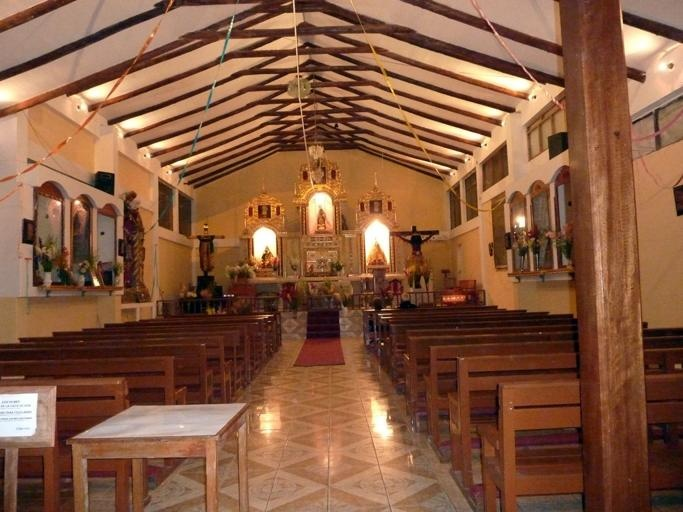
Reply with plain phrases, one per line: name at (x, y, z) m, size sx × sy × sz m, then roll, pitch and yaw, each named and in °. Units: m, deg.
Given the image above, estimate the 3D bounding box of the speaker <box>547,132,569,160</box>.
speaker at (3.664, -1.887, 10.916) m, size 0.260 × 0.481 × 0.858 m, roll 0°, pitch 4°, yaw 15°

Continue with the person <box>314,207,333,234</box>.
person at (-0.578, -1.158, 20.547) m, size 0.516 × 0.789 × 0.413 m, roll -1°, pitch 4°, yaw -3°

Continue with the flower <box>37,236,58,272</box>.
flower at (-4.495, -0.019, 9.824) m, size 0.230 × 0.515 × 0.515 m, roll -2°, pitch 4°, yaw -19°

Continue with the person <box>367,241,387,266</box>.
person at (1.135, -0.072, 20.399) m, size 0.614 × 0.716 × 0.640 m, roll 0°, pitch 4°, yaw 9°

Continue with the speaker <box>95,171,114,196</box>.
speaker at (-4.530, -1.375, 12.275) m, size 0.299 × 0.285 × 0.538 m, roll -4°, pitch 2°, yaw -16°

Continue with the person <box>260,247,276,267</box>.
person at (-2.325, 0.046, 20.153) m, size 0.576 × 0.837 × 0.307 m, roll -1°, pitch -22°, yaw -2°

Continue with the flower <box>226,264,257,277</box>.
flower at (-2.945, 0.437, 18.830) m, size 0.521 × 0.341 × 0.514 m, roll 3°, pitch 0°, yaw 2°

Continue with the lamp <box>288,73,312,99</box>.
lamp at (-0.675, -2.724, 10.284) m, size 0.280 × 0.374 × 0.731 m, roll 0°, pitch 4°, yaw 3°
